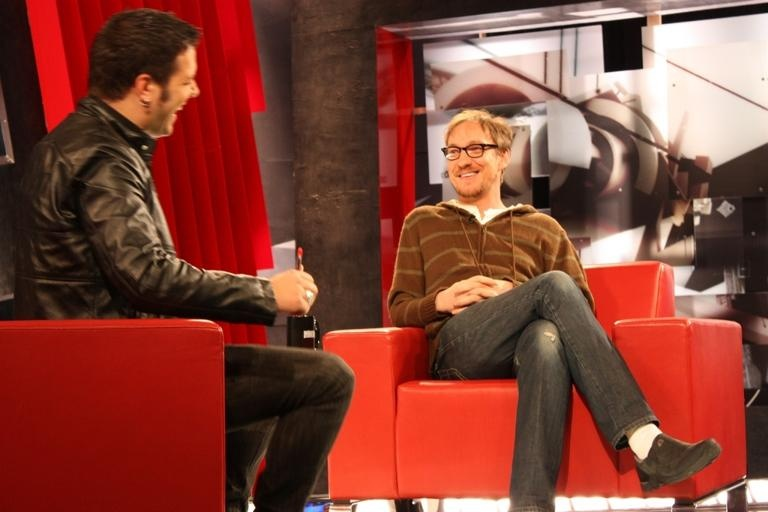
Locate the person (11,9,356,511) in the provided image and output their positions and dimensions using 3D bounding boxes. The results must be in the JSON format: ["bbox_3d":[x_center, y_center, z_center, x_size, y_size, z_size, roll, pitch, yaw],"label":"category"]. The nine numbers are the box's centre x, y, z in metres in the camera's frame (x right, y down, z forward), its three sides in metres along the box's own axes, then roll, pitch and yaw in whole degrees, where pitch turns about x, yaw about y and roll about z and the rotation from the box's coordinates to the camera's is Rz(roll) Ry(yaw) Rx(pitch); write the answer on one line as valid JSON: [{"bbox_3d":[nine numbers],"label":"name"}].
[{"bbox_3d":[-0.570,0.029,1.951,0.877,1.498,0.384,-2,3,-24],"label":"person"}]

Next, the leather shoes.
[{"bbox_3d":[0.911,0.635,2.154,0.104,0.150,0.303,9,-40,-40],"label":"leather shoes"}]

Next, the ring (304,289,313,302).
[{"bbox_3d":[-0.214,0.112,1.948,0.023,0.025,0.028,1,-18,0],"label":"ring"}]
